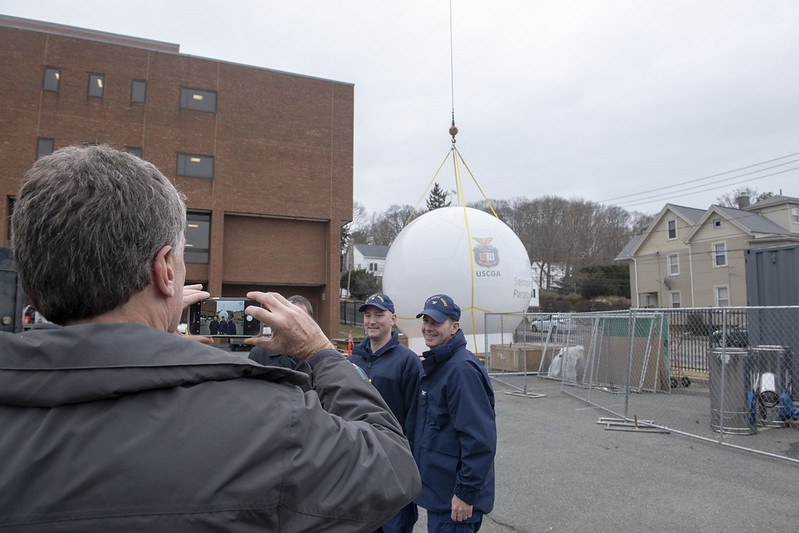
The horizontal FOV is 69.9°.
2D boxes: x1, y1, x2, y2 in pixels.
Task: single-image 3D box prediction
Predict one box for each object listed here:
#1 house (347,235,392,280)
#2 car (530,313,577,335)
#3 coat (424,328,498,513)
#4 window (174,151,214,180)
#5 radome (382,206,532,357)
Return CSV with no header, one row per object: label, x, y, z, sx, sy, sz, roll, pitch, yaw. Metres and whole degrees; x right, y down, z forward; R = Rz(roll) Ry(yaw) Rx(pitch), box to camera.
house,-3.021,-0.809,57.248,4.305,2.580,3.678,1,-9,-12
car,3.911,1.473,14.716,1.057,0.643,3.839,-2,-3,12
coat,0.397,1.204,4.469,0.544,1.272,1.226,3,-7,-15
window,-7.424,-3.651,20.475,1.050,0.803,0.113,3,-10,-30
radome,1.743,0.870,15.495,3.634,4.494,3.910,-8,-18,10
